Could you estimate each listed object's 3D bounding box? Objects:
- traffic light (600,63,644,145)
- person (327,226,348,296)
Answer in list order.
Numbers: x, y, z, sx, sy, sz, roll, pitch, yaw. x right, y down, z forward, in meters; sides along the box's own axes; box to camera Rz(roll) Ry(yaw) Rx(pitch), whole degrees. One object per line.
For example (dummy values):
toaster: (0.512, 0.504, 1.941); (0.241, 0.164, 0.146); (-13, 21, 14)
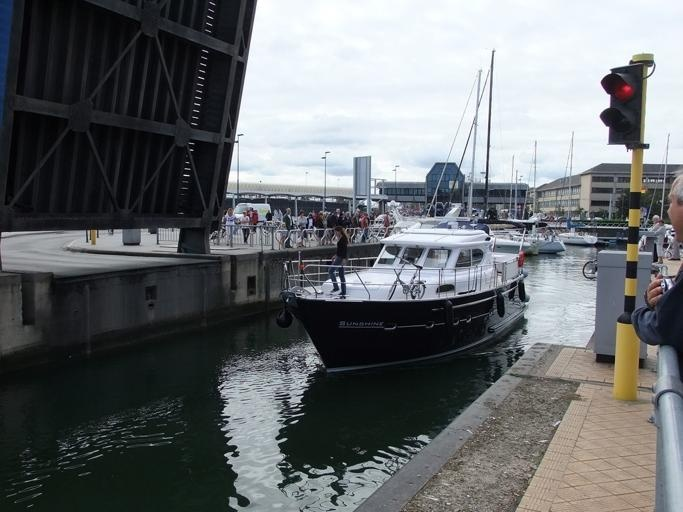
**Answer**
traffic light: (3.557, -1.893, 6.675); (0.414, 1.028, 0.552); (4, 8, 38)
person: (-0.061, 0.080, 12.608); (0.443, 1.612, 1.285); (-1, 6, 0)
